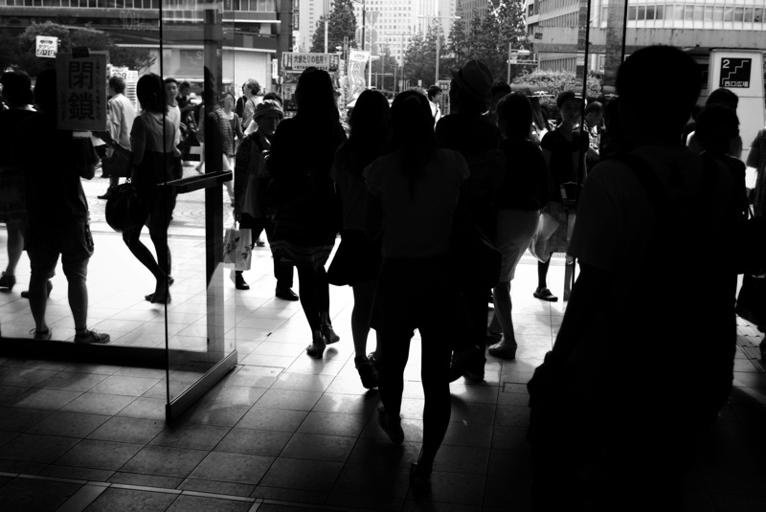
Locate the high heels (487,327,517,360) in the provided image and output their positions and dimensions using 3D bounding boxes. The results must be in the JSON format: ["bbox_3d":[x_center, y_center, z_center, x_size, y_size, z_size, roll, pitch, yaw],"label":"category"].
[{"bbox_3d":[0.924,0.699,5.386,0.110,0.129,0.324,-9,14,-9],"label":"high heels"}]

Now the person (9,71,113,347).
[{"bbox_3d":[-2.384,-0.356,5.003,0.622,1.981,0.272,2,10,4],"label":"person"}]

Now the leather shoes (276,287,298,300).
[{"bbox_3d":[-0.949,0.361,6.690,0.260,0.123,0.094,4,5,20],"label":"leather shoes"}]

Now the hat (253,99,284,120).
[{"bbox_3d":[-1.081,-1.410,6.474,0.166,0.133,0.251,1,11,5],"label":"hat"}]

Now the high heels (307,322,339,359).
[{"bbox_3d":[-0.469,0.641,5.326,0.117,0.159,0.367,1,16,5],"label":"high heels"}]

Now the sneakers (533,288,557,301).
[{"bbox_3d":[1.632,0.379,6.816,0.220,0.094,0.098,7,11,41],"label":"sneakers"}]

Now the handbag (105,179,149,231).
[{"bbox_3d":[-1.857,-0.366,4.818,0.361,0.396,0.193,11,17,39],"label":"handbag"}]
